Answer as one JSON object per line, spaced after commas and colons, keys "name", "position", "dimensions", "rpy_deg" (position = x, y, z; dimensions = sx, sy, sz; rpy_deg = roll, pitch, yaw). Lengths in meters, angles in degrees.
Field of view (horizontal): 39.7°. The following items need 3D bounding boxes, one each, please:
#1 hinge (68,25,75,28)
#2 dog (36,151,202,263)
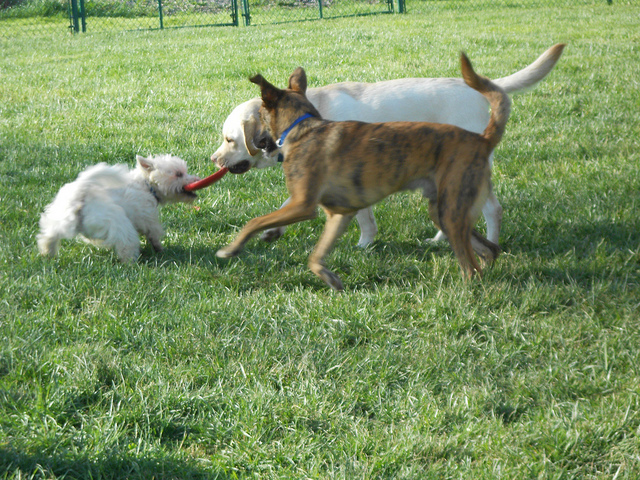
{"name": "hinge", "position": [-7.903, -6.837, 28.263], "dimensions": [0.070, 0.079, 0.377], "rpy_deg": [-12, 18, -33]}
{"name": "dog", "position": [-2.165, -0.352, 9.727], "dimensions": [0.938, 1.076, 1.909], "rpy_deg": [18, 22, 37]}
